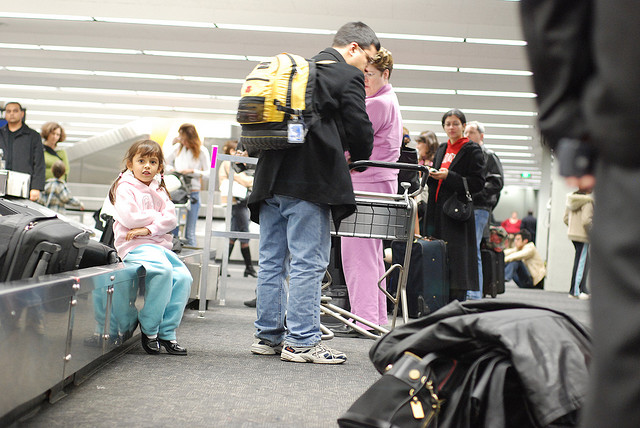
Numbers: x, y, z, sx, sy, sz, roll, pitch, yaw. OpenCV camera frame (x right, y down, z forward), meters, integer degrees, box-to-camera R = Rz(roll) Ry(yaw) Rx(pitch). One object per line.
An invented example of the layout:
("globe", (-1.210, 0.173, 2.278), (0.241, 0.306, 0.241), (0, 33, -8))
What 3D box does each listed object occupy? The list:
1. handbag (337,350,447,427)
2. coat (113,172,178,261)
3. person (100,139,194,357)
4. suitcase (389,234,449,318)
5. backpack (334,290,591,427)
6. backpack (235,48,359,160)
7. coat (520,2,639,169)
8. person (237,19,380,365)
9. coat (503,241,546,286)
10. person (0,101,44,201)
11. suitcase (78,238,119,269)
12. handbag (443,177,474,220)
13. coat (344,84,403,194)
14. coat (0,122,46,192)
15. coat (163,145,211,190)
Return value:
("handbag", (0.227, 0.639, 1.758), (0.283, 0.284, 0.204), (20, -34, 14))
("coat", (-1.075, 0.026, 3.181), (0.308, 0.505, 0.416), (9, 7, 23))
("person", (-0.969, 0.150, 3.044), (0.431, 1.227, 0.637), (4, -2, -30))
("suitcase", (0.862, 0.556, 4.546), (0.360, 0.635, 0.397), (5, -7, -36))
("backpack", (0.497, 0.488, 1.750), (0.781, 0.254, 0.593), (-1, -1, 3))
("backpack", (-0.152, -0.626, 2.947), (0.602, 0.525, 0.419), (3, 8, -36))
("coat", (0.469, -0.244, 0.968), (0.089, 0.330, 0.205), (4, -2, -31))
("person", (-0.051, -0.153, 3.010), (0.866, 1.881, 0.723), (2, 1, -13))
("coat", (3.655, 0.890, 9.719), (0.986, 0.765, 0.660), (9, 4, 23))
("person", (-3.521, -0.782, 6.254), (0.493, 1.257, 0.339), (4, -1, -28))
("suitcase", (-1.170, 0.187, 2.839), (0.147, 0.195, 0.196), (24, 18, 40))
("handbag", (1.255, -0.145, 4.785), (0.315, 0.458, 0.128), (9, -27, 24))
("coat", (0.385, -0.467, 3.774), (0.446, 0.806, 0.615), (-1, 11, 13))
("coat", (-3.523, -0.686, 6.246), (0.497, 0.895, 0.309), (4, -1, -29))
("coat", (-1.947, -0.677, 7.743), (0.618, 0.619, 0.573), (4, -2, -16))
